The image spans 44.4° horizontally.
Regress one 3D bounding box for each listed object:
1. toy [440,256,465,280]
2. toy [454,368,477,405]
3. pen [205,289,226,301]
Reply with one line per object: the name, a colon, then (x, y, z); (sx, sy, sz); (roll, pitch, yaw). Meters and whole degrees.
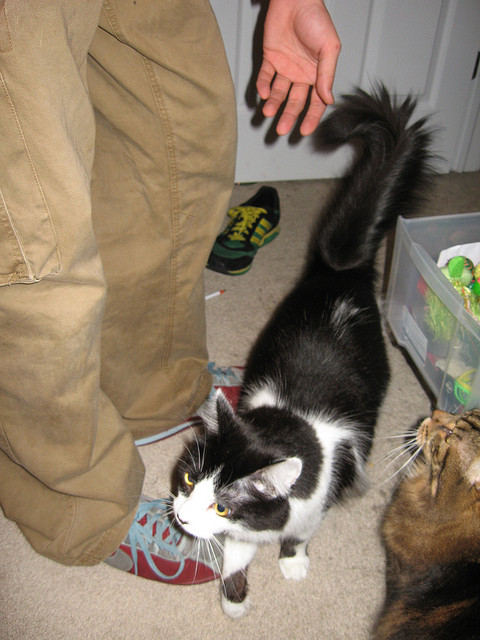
toy: (0.502, -0.121, 1.394); (0.016, 0.051, 0.052); (15, 15, -42)
toy: (0.471, 0.133, 1.262); (0.020, 0.063, 0.047); (4, 40, -17)
pen: (-0.074, -0.074, 1.763); (0.102, 0.013, 0.013); (-19, 33, -20)
